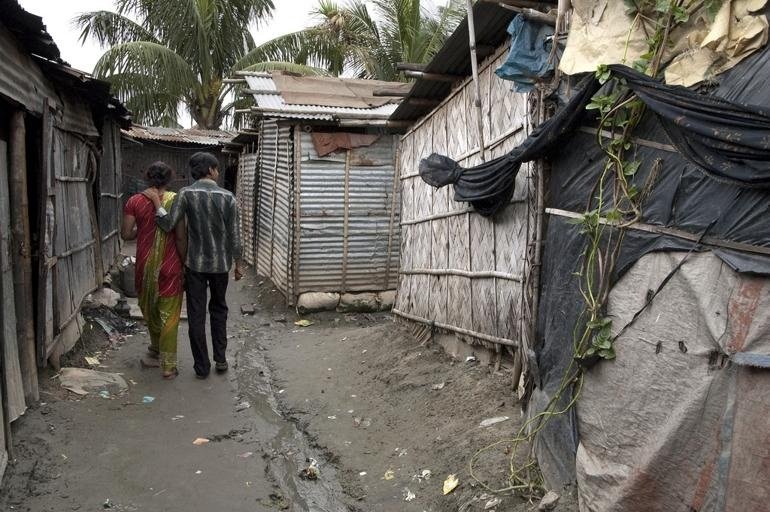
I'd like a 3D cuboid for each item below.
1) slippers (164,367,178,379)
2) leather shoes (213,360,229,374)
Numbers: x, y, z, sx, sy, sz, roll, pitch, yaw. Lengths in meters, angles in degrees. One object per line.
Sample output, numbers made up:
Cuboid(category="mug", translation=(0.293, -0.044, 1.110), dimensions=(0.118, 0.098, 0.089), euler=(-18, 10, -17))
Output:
Cuboid(category="slippers", translation=(-2.455, 1.350, 6.699), dimensions=(0.133, 0.140, 0.101), euler=(-1, 2, -38))
Cuboid(category="leather shoes", translation=(-1.978, 1.353, 7.044), dimensions=(0.119, 0.134, 0.310), euler=(2, -9, -14))
